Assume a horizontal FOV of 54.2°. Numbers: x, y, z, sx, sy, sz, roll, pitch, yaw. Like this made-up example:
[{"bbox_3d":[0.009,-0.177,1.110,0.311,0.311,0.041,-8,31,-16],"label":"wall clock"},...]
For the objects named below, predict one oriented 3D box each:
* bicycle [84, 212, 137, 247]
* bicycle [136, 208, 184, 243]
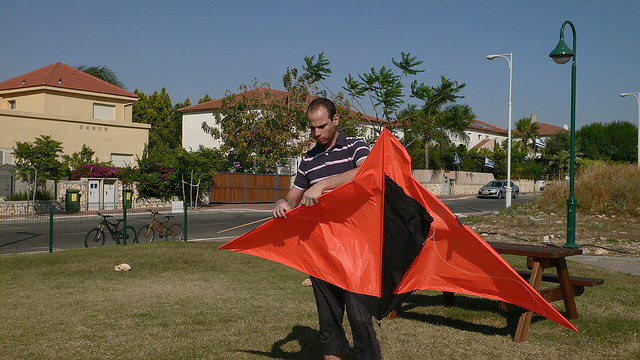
[{"bbox_3d":[-9.024,2.115,26.293,2.011,1.349,0.582,2,-1,-40],"label":"bicycle"},{"bbox_3d":[-7.055,2.115,27.814,1.977,1.348,0.576,2,-2,-40],"label":"bicycle"}]
